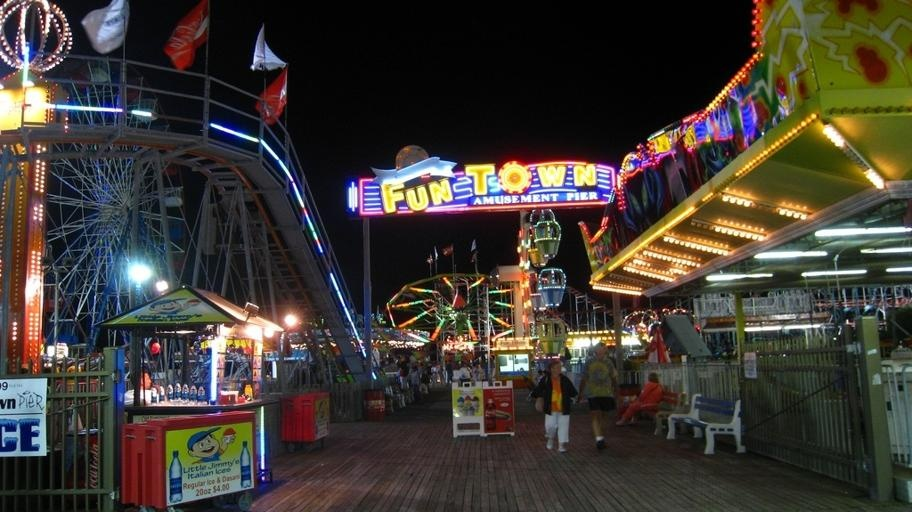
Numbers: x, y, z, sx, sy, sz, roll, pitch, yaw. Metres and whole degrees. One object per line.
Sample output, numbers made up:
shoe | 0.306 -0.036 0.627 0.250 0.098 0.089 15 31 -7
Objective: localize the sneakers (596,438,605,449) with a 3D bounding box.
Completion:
sneakers | 3.588 4.632 18.260 0.143 0.283 0.476 0 1 22

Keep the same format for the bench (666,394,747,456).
bench | 6.157 4.146 18.382 1.077 1.139 2.312 0 -6 -7

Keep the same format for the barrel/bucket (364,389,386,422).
barrel/bucket | -2.732 4.988 24.532 0.887 1.085 0.868 -1 -8 0

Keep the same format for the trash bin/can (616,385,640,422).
trash bin/can | 5.395 4.644 23.045 1.067 1.020 1.840 -1 -11 6

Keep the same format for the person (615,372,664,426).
person | 5.327 4.336 21.347 1.279 1.381 1.031 14 -13 -10

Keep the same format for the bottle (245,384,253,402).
bottle | -4.836 3.157 17.125 0.221 0.314 0.668 -1 0 -16

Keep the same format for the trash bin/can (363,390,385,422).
trash bin/can | -2.599 5.062 25.045 0.872 1.189 0.894 -2 -9 5

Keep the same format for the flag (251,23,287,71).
flag | -5.619 -6.035 21.758 0.803 1.369 2.177 -1 0 -15

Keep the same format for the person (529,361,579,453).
person | 2.489 3.673 18.392 1.017 2.380 1.581 -1 1 9
